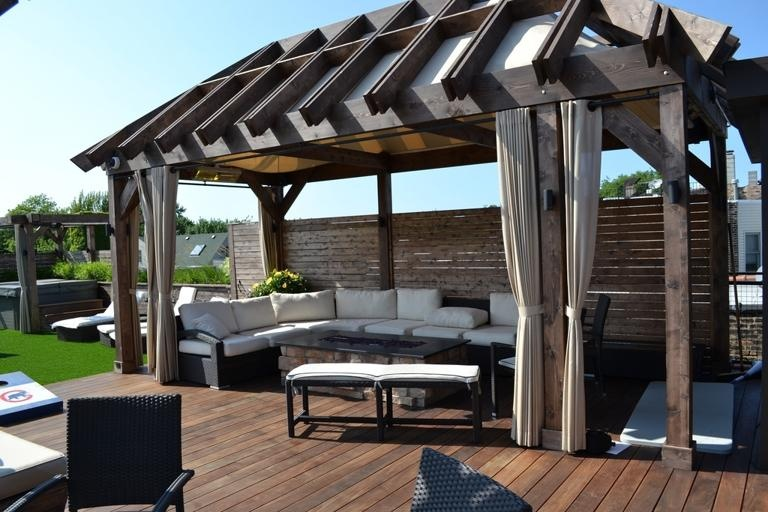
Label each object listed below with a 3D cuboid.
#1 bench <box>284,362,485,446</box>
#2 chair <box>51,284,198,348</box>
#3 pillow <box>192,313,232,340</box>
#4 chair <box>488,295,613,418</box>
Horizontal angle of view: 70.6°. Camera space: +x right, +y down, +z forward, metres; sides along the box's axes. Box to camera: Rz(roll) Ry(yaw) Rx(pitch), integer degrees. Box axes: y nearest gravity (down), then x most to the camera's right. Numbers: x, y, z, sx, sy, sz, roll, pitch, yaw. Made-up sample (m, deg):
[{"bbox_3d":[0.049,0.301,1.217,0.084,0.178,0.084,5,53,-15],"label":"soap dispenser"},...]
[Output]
[{"bbox_3d":[-0.045,1.751,6.401,2.305,0.809,0.728,-2,-9,14],"label":"bench"},{"bbox_3d":[-5.316,1.474,11.748,1.690,1.160,2.854,-1,-2,39],"label":"chair"},{"bbox_3d":[-2.672,1.084,8.266,0.564,0.367,0.475,-4,8,-12],"label":"pillow"},{"bbox_3d":[2.178,1.308,7.345,1.641,2.250,1.602,-1,-4,15],"label":"chair"}]
